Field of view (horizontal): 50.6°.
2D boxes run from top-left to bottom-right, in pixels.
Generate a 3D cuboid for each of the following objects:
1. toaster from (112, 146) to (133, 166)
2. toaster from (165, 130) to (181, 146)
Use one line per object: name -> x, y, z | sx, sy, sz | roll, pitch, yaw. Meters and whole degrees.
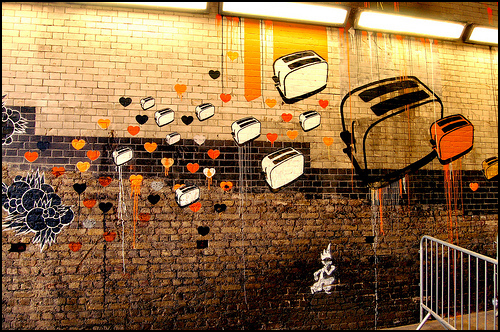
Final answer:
toaster -> -2.042, -0.150, 8.392 | 0.262, 0.225, 0.132 | -10, 15, -23
toaster -> -1.228, -0.443, 8.507 | 0.303, 0.220, 0.162 | -9, 28, -18
